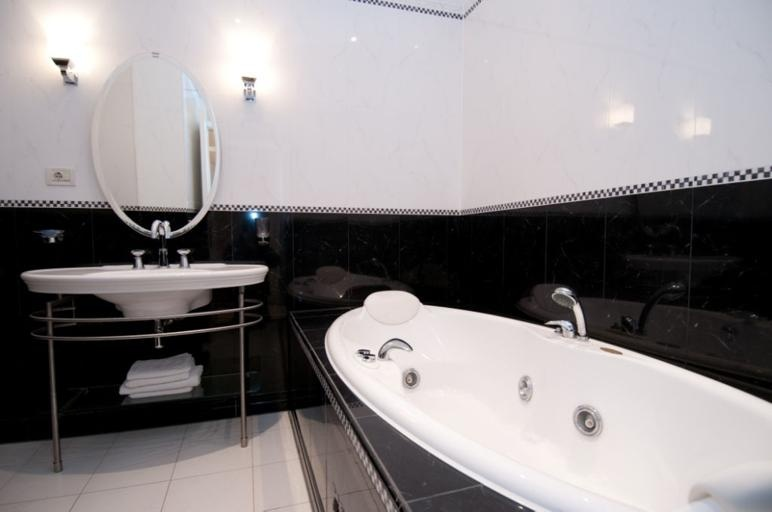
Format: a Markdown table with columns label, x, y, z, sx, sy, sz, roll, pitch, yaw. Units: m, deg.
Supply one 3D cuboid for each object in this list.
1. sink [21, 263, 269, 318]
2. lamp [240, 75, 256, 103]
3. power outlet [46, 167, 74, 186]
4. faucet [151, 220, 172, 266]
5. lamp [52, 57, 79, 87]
| label | x | y | z | sx | sy | sz | roll | pitch | yaw |
| --- | --- | --- | --- | --- | --- | --- | --- | --- | --- |
| sink | -1.372 | 0.206 | 3.233 | 1.303 | 0.330 | 0.496 | -3 | 11 | -13 |
| lamp | -0.895 | -1.103 | 3.604 | 0.088 | 0.151 | 0.050 | -3 | 10 | -13 |
| power outlet | -2.020 | -0.498 | 3.380 | 0.109 | 0.088 | 0.016 | 0 | 8 | -15 |
| faucet | -1.420 | -0.086 | 3.475 | 0.111 | 0.280 | 0.190 | -5 | 11 | -21 |
| lamp | -1.945 | -1.130 | 3.336 | 0.117 | 0.157 | 0.087 | -5 | 11 | -25 |
